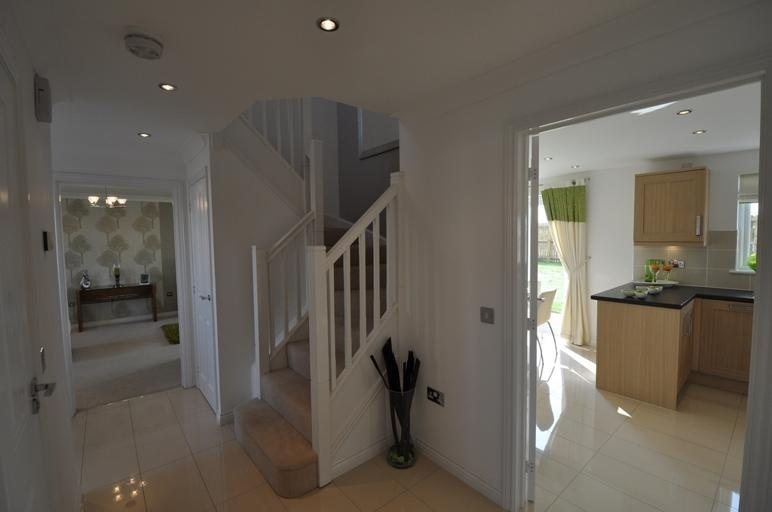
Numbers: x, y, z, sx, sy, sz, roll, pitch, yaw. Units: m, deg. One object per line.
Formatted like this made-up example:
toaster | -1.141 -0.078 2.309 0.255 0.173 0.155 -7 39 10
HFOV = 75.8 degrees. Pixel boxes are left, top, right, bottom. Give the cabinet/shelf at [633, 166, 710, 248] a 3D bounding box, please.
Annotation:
cabinet/shelf | 3.231 -0.546 5.520 0.853 1.140 0.460 2 5 43

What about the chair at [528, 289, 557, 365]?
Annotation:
chair | 1.741 0.715 5.401 0.293 0.507 0.315 -11 8 -16

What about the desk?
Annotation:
desk | -4.201 0.753 7.990 1.237 0.775 0.452 -3 16 -3

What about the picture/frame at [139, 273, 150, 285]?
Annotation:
picture/frame | -3.998 0.394 8.184 0.192 0.271 0.152 4 -5 -30

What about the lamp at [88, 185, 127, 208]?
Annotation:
lamp | -4.268 -0.836 7.511 0.407 0.546 0.414 2 1 21

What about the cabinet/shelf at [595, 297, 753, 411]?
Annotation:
cabinet/shelf | 2.987 0.918 5.117 1.207 0.771 1.224 1 6 30

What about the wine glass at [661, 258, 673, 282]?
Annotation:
wine glass | 3.291 0.170 5.740 0.117 0.241 0.328 0 4 29

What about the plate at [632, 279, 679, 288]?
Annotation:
plate | 3.129 0.316 5.709 0.299 0.033 0.211 3 6 33

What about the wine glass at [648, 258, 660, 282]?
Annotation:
wine glass | 3.172 0.168 5.820 0.121 0.249 0.333 0 4 30
